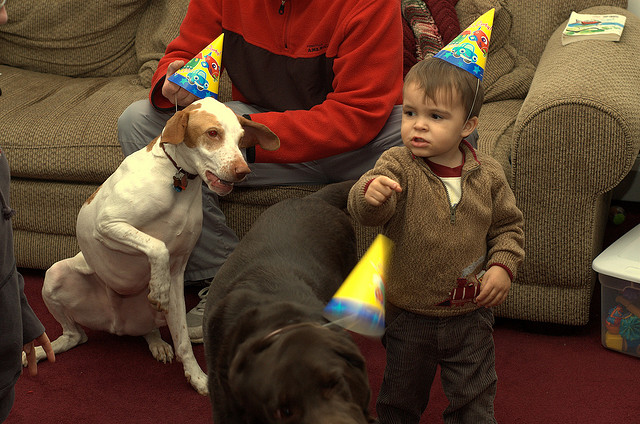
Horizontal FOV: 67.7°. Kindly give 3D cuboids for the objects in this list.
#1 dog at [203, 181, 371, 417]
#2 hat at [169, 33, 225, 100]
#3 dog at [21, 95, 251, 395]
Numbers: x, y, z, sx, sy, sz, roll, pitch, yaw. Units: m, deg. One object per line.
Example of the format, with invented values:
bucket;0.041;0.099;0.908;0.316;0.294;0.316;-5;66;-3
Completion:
dog;-0.079;0.207;1.218;0.250;0.376;0.713;-1;35;1
hat;-0.532;-0.566;2.041;0.201;0.180;0.420;-3;39;3
dog;-0.723;0.099;1.993;0.768;1.172;0.682;16;8;24
